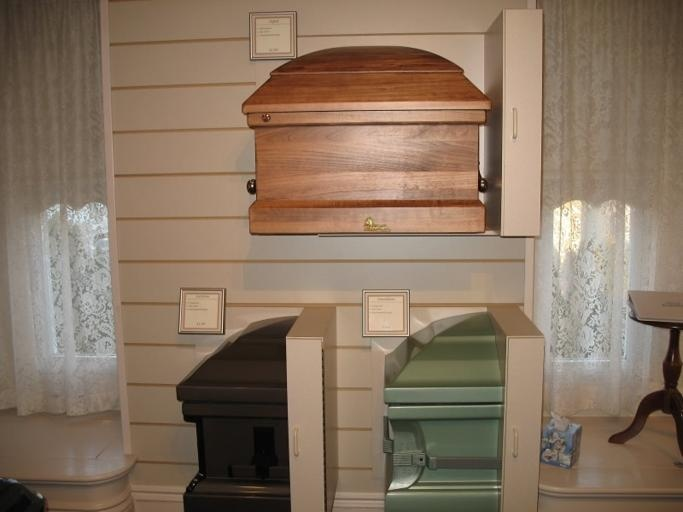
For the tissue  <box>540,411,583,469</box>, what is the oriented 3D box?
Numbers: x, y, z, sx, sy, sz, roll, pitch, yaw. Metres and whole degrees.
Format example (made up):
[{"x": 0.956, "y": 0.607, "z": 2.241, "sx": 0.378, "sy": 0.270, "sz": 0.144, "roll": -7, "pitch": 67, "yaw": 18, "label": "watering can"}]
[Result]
[{"x": 1.086, "y": 0.947, "z": 3.294, "sx": 0.221, "sy": 0.229, "sz": 0.231, "roll": 6, "pitch": -1, "yaw": 40, "label": "tissue "}]

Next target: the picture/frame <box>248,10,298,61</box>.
[{"x": -0.330, "y": -1.086, "z": 3.132, "sx": 0.309, "sy": 0.296, "sz": 0.023, "roll": 0, "pitch": 5, "yaw": 0, "label": "picture/frame"}]

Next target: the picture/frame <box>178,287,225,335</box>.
[{"x": -0.706, "y": 0.280, "z": 3.240, "sx": 0.232, "sy": 0.233, "sz": 0.024, "roll": 0, "pitch": -6, "yaw": 1, "label": "picture/frame"}]

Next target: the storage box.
[{"x": 0.078, "y": -0.581, "z": 3.192, "sx": 1.133, "sy": 0.836, "sz": 0.846, "roll": -3, "pitch": 9, "yaw": -10, "label": "storage box"}]
